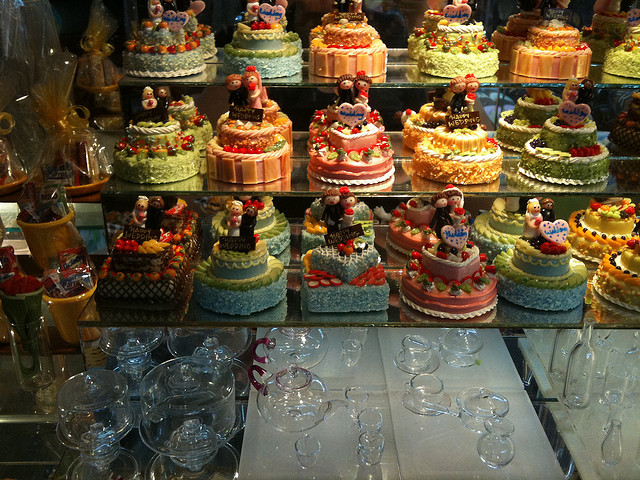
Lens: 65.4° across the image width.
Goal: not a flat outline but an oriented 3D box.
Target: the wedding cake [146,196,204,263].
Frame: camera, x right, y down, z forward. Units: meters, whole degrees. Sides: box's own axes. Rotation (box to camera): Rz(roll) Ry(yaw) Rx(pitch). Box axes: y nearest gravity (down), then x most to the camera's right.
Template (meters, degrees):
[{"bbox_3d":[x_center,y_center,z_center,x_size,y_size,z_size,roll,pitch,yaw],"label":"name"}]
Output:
[{"bbox_3d":[-0.892,-0.084,3.118,0.289,0.238,0.458,-2,24,-12],"label":"wedding cake"}]

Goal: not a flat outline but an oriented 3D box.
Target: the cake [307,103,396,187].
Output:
[{"bbox_3d":[0.173,-0.564,2.771,0.491,0.348,0.528,-26,41,-37],"label":"cake"}]

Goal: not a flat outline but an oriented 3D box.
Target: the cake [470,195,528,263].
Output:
[{"bbox_3d":[1.223,-0.118,3.168,0.408,0.288,0.380,11,22,4],"label":"cake"}]

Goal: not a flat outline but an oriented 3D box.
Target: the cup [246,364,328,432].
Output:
[{"bbox_3d":[-0.197,0.863,2.800,0.416,0.253,0.316,21,38,26],"label":"cup"}]

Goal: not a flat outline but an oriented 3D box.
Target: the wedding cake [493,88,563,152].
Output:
[{"bbox_3d":[1.225,-0.724,3.089,0.339,0.441,0.412,-7,30,-12],"label":"wedding cake"}]

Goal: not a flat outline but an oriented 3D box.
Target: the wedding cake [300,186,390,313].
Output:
[{"bbox_3d":[0.119,0.053,2.586,0.465,0.564,0.331,-1,28,-1],"label":"wedding cake"}]

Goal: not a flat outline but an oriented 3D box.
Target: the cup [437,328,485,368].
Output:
[{"bbox_3d":[0.845,0.641,3.142,0.360,0.225,0.230,2,28,12],"label":"cup"}]

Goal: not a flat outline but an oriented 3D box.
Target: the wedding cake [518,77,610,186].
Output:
[{"bbox_3d":[1.318,-0.561,2.607,0.453,0.497,0.323,11,30,21],"label":"wedding cake"}]

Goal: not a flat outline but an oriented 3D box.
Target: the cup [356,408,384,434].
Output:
[{"bbox_3d":[0.285,1.016,2.870,0.115,0.084,0.116,1,24,0],"label":"cup"}]

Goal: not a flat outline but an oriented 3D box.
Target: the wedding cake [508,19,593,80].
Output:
[{"bbox_3d":[1.312,-1.043,2.858,0.386,0.242,0.385,6,25,16],"label":"wedding cake"}]

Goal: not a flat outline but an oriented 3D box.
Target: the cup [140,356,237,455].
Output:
[{"bbox_3d":[-0.697,0.895,2.774,0.489,0.408,0.480,1,27,-1],"label":"cup"}]

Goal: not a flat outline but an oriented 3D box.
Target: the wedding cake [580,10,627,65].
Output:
[{"bbox_3d":[1.720,-1.262,3.087,0.274,0.347,0.240,2,32,5],"label":"wedding cake"}]

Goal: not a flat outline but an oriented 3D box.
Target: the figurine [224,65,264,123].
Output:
[{"bbox_3d":[-0.390,-0.758,2.691,0.213,0.302,0.214,-12,36,-14],"label":"figurine"}]

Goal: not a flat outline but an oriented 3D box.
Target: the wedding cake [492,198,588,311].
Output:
[{"bbox_3d":[1.165,0.085,2.600,0.447,0.501,0.271,9,29,18],"label":"wedding cake"}]

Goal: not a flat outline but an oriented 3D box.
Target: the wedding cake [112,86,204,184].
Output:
[{"bbox_3d":[-0.855,-0.559,2.820,0.512,0.457,0.515,2,27,-5],"label":"wedding cake"}]

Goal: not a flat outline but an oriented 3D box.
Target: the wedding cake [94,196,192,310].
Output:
[{"bbox_3d":[-0.940,0.019,2.763,0.464,0.466,0.659,2,19,-8],"label":"wedding cake"}]

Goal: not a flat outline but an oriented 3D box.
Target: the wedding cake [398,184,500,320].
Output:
[{"bbox_3d":[0.642,0.039,2.613,0.504,0.665,0.789,-1,29,-2],"label":"wedding cake"}]

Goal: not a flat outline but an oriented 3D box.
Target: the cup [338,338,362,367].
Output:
[{"bbox_3d":[0.195,0.719,3.211,0.120,0.132,0.187,13,29,16],"label":"cup"}]

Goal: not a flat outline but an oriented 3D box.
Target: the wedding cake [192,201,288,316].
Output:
[{"bbox_3d":[-0.424,0.159,2.600,0.468,0.347,0.318,-6,28,-10],"label":"wedding cake"}]

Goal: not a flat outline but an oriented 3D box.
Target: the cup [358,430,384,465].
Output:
[{"bbox_3d":[0.281,1.175,2.810,0.185,0.214,0.158,-5,61,5],"label":"cup"}]

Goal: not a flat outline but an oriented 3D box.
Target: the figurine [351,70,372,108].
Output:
[{"bbox_3d":[0.228,-0.823,2.738,0.110,0.170,0.187,2,28,5],"label":"figurine"}]

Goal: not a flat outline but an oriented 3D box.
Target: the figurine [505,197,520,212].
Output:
[{"bbox_3d":[1.191,-0.212,3.083,0.059,0.083,0.058,6,46,-1],"label":"figurine"}]

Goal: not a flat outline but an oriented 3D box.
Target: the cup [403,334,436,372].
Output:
[{"bbox_3d":[0.617,0.690,3.102,0.202,0.121,0.254,4,28,8],"label":"cup"}]

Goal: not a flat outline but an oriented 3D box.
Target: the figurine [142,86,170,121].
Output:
[{"bbox_3d":[-0.901,-0.726,2.720,0.156,0.203,0.074,-20,49,-36],"label":"figurine"}]

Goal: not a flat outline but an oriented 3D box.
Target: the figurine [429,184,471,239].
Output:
[{"bbox_3d":[0.662,-0.142,2.562,0.232,0.352,0.149,-4,29,-3],"label":"figurine"}]

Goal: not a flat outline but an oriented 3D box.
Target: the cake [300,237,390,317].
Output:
[{"bbox_3d":[0.130,0.168,2.636,0.457,0.315,0.377,-2,27,-3],"label":"cake"}]

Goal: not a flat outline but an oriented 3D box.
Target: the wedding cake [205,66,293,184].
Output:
[{"bbox_3d":[-0.370,-0.569,2.719,0.469,0.647,0.676,4,37,5],"label":"wedding cake"}]

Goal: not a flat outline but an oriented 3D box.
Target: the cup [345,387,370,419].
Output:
[{"bbox_3d":[0.224,0.970,2.994,0.112,0.128,0.136,0,24,-1],"label":"cup"}]

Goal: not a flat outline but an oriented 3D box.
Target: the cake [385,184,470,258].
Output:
[{"bbox_3d":[0.658,-0.186,3.103,0.476,0.334,0.470,-14,33,-7],"label":"cake"}]

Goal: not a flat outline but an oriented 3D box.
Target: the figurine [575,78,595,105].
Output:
[{"bbox_3d":[1.380,-0.753,2.571,0.105,0.123,0.064,-12,30,-20],"label":"figurine"}]

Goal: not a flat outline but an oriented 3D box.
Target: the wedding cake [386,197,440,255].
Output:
[{"bbox_3d":[0.566,-0.087,3.095,0.321,0.230,0.335,16,28,17],"label":"wedding cake"}]

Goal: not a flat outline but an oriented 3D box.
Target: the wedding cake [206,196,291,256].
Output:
[{"bbox_3d":[-0.419,-0.166,3.268,0.429,0.271,0.430,1,20,-3],"label":"wedding cake"}]

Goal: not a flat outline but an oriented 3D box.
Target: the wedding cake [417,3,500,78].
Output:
[{"bbox_3d":[0.782,-1.113,2.917,0.456,0.327,0.448,-1,31,1],"label":"wedding cake"}]

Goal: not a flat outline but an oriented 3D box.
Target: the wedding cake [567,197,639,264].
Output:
[{"bbox_3d":[1.751,-0.073,3.133,0.461,0.276,0.446,-3,29,8],"label":"wedding cake"}]

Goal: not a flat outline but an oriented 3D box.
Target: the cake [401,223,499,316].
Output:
[{"bbox_3d":[0.671,0.192,2.537,0.474,0.325,0.462,-12,30,-18],"label":"cake"}]
